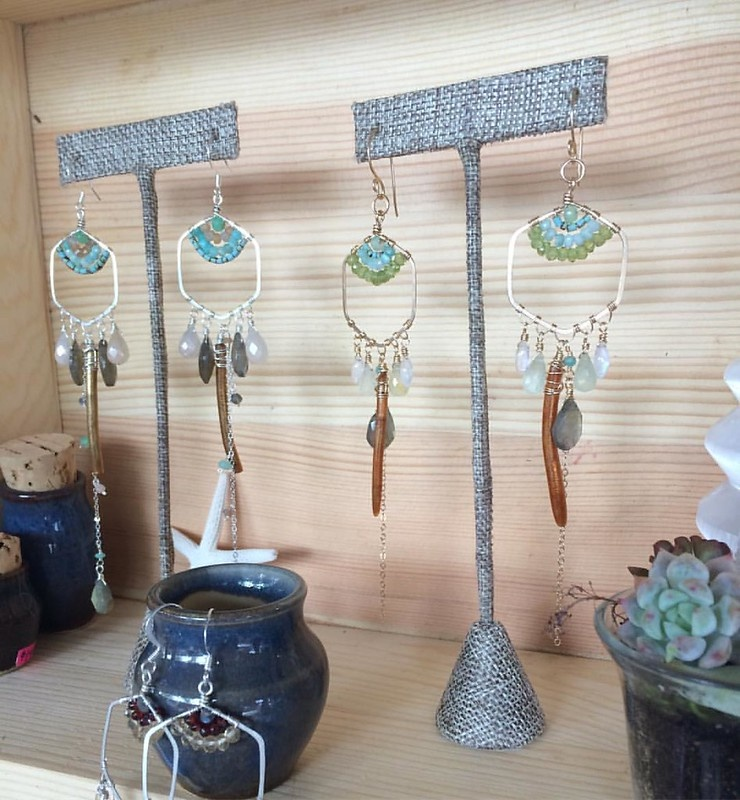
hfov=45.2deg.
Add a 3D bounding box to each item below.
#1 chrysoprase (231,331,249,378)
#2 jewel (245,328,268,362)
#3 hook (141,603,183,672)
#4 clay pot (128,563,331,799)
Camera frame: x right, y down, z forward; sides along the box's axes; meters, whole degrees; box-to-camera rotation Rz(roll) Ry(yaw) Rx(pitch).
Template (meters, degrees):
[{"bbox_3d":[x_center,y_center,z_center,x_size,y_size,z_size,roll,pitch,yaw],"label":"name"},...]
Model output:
[{"bbox_3d":[-0.139,-0.047,0.946,0.026,0.038,0.010,-2,7,36],"label":"chrysoprase"},{"bbox_3d":[-0.119,-0.058,0.946,0.018,0.034,0.024,-14,-2,32],"label":"jewel"},{"bbox_3d":[-0.176,0.205,0.772,0.050,0.021,0.050,-2,55,3],"label":"hook"},{"bbox_3d":[-0.121,0.247,0.792,0.162,0.168,0.162,-2,13,0],"label":"clay pot"}]
